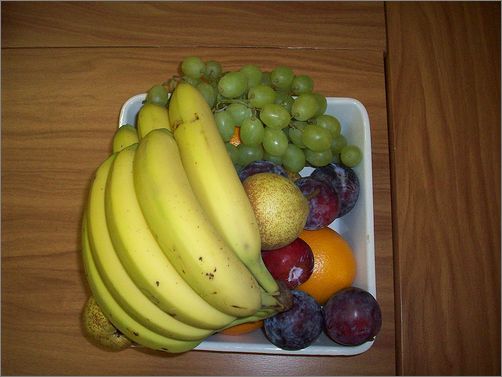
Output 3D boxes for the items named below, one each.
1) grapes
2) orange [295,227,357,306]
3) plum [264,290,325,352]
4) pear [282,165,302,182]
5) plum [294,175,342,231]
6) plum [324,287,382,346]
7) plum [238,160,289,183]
[{"bbox_3d":[0.027,-0.184,1.344,0.567,0.234,0.273,9,27,-14],"label":"grapes"},{"bbox_3d":[0.219,0.208,1.302,0.164,0.173,0.162,4,-13,16],"label":"orange"},{"bbox_3d":[0.111,0.326,1.171,0.126,0.145,0.156,-2,0,5],"label":"plum"},{"bbox_3d":[0.111,-0.045,1.320,0.043,0.026,0.034,32,15,14],"label":"pear"},{"bbox_3d":[0.157,0.018,1.283,0.124,0.117,0.170,-2,36,-9],"label":"plum"},{"bbox_3d":[0.247,0.313,1.199,0.136,0.132,0.053,-1,-7,0],"label":"plum"},{"bbox_3d":[0.031,-0.057,1.227,0.083,0.052,0.066,-3,18,-3],"label":"plum"}]
